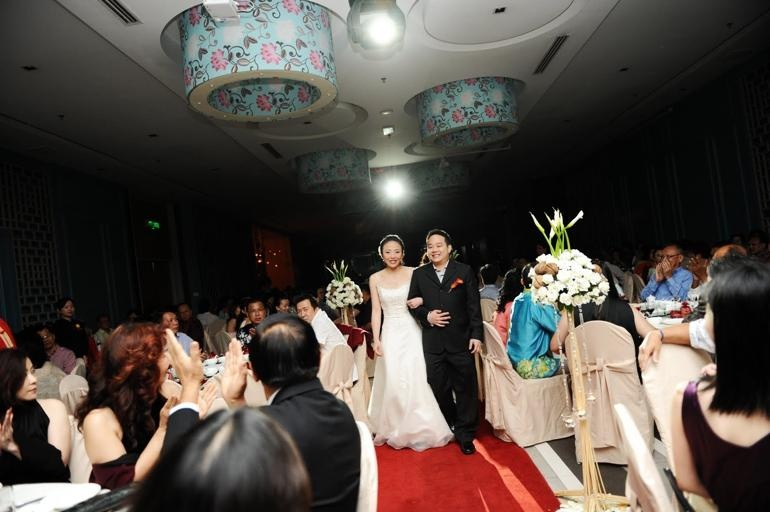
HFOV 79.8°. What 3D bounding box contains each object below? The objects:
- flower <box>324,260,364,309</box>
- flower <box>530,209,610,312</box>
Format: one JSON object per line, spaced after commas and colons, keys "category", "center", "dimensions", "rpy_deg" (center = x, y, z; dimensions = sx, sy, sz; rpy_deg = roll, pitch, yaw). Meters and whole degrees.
{"category": "flower", "center": [-0.606, 0.442, 6.302], "dimensions": [0.493, 0.751, 0.542], "rpy_deg": [-3, 8, 32]}
{"category": "flower", "center": [1.063, 0.053, 2.783], "dimensions": [0.455, 0.629, 0.428], "rpy_deg": [-12, -2, 5]}
